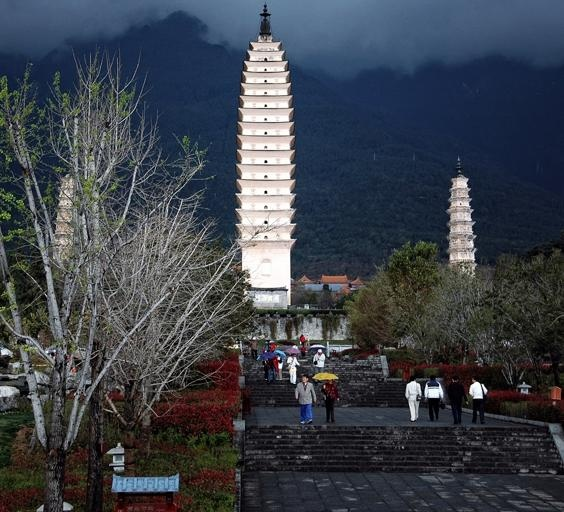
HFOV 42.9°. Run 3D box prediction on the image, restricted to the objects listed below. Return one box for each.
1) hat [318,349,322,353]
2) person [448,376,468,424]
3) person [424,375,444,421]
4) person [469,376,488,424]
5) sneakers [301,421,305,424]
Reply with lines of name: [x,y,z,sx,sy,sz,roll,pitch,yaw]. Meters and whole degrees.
hat: [1.744,4.440,33.275,0.175,0.242,0.240,-1,-38,1]
person: [5.324,4.398,21.897,0.457,1.390,2.309,-3,-8,13]
person: [4.764,4.447,22.574,0.492,1.408,1.915,-3,-8,11]
person: [6.113,4.475,22.260,0.498,1.368,2.239,-3,-8,14]
sneakers: [0.586,4.887,21.054,0.063,0.079,0.181,0,-17,-2]
